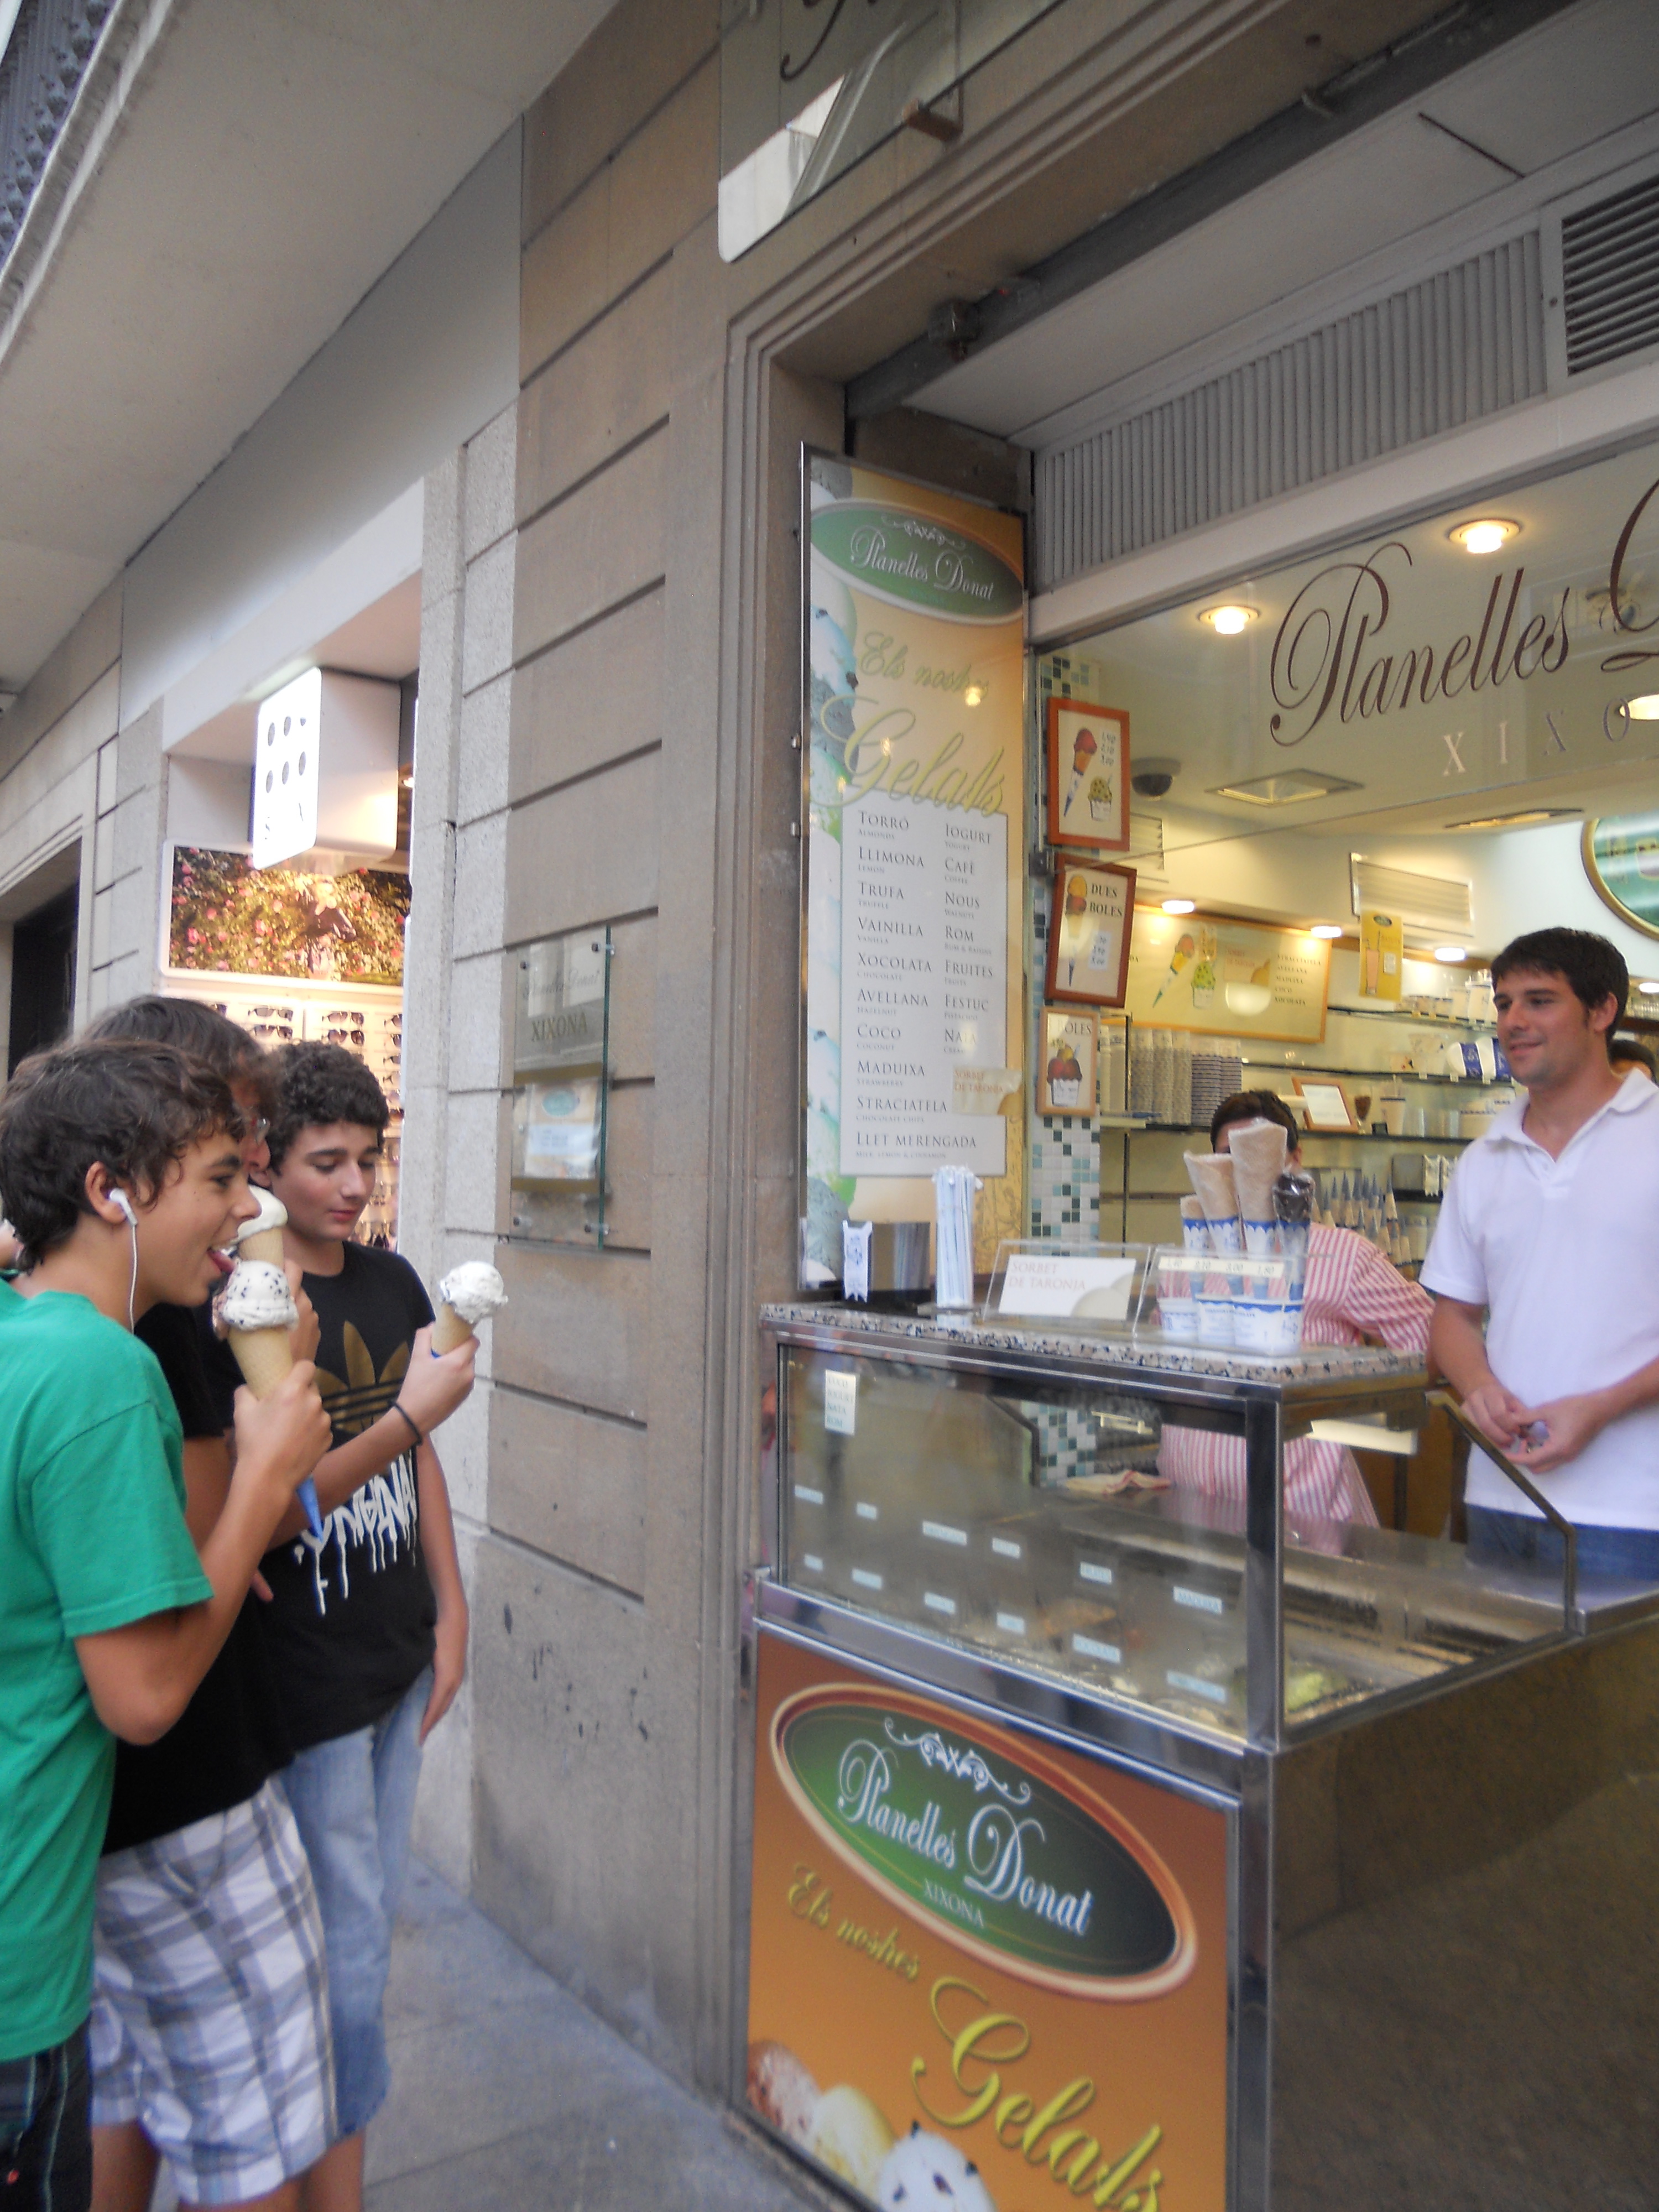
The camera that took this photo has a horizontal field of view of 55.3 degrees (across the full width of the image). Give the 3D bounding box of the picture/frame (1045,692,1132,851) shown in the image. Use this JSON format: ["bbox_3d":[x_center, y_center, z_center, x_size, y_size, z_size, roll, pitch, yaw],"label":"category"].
[{"bbox_3d":[0.518,-0.677,3.223,0.298,0.377,0.044,2,-1,-41],"label":"picture/frame"}]

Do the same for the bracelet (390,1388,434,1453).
[{"bbox_3d":[-0.520,0.378,1.946,0.014,0.063,0.062,-23,-19,-17],"label":"bracelet"}]

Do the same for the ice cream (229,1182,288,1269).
[{"bbox_3d":[-0.568,0.118,1.577,0.060,0.085,0.084,2,-11,-11],"label":"ice cream"}]

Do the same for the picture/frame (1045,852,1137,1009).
[{"bbox_3d":[0.522,-0.357,3.216,0.285,0.366,0.047,-3,7,-37],"label":"picture/frame"}]
